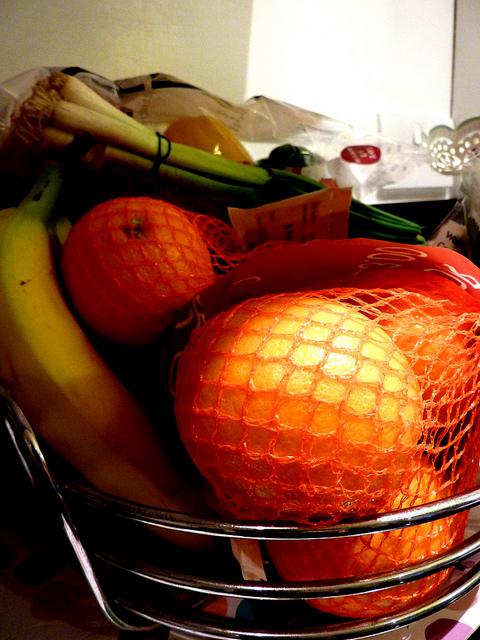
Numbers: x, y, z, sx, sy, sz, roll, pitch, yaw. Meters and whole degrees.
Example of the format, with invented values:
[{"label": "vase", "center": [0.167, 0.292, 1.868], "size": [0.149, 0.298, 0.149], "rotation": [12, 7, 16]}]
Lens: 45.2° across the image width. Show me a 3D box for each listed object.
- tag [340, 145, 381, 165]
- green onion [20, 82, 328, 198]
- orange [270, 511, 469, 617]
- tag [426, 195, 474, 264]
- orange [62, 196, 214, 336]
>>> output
[{"label": "tag", "center": [0.120, -0.164, 0.572], "size": [0.038, 0.016, 0.005], "rotation": [0, 27, -11]}, {"label": "green onion", "center": [-0.039, -0.123, 0.439], "size": [0.292, 0.036, 0.037], "rotation": [4, 7, -39]}, {"label": "orange", "center": [0.074, 0.140, 0.353], "size": [0.092, 0.045, 0.067], "rotation": [-21, 58, -13]}, {"label": "tag", "center": [0.214, -0.088, 0.580], "size": [0.036, 0.079, 0.040], "rotation": [-7, 22, -9]}, {"label": "orange", "center": [-0.069, -0.023, 0.427], "size": [0.079, 0.098, 0.091], "rotation": [-29, 38, 47]}]
